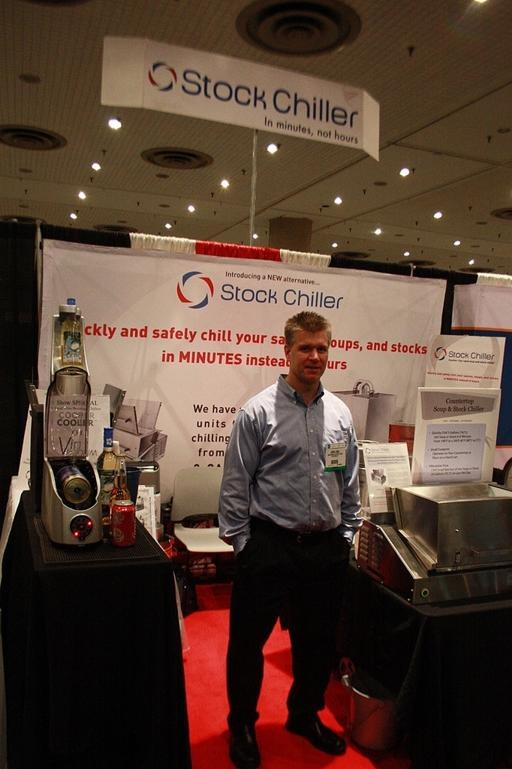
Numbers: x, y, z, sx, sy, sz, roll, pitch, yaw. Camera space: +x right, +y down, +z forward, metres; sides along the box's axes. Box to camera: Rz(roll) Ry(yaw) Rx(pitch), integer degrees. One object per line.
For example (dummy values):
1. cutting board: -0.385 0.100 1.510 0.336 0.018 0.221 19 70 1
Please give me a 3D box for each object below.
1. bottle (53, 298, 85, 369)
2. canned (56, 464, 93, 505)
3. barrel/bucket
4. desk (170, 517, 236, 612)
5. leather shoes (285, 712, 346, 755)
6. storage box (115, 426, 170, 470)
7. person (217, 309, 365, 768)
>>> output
1. bottle: -0.567 -0.150 1.663 0.102 0.232 0.194 4 -3 -21
2. canned: -0.498 0.275 1.495 0.042 0.043 0.067 -32 30 -16
3. barrel/bucket: 0.402 1.157 1.960 0.207 0.197 0.166 0 -1 29
4. desk: -0.340 1.048 3.213 0.425 0.685 0.463 3 -20 -19
5. leather shoes: 0.214 1.222 1.977 0.225 0.151 0.078 -9 -11 42
6. storage box: -0.648 0.337 3.027 0.114 0.186 0.316 0 -4 43
7. person: 0.135 0.499 1.890 0.551 1.511 0.303 5 -4 -38
